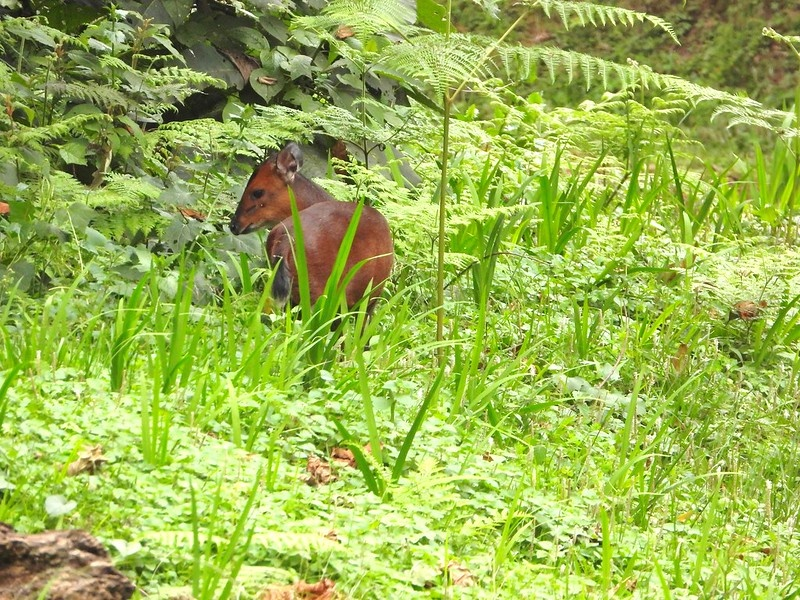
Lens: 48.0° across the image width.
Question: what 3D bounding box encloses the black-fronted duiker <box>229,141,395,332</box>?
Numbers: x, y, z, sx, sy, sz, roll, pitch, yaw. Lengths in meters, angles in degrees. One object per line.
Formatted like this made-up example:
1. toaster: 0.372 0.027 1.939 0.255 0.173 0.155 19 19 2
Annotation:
1. black-fronted duiker: -0.446 -0.240 4.241 0.993 0.806 0.357 14 0 -42
